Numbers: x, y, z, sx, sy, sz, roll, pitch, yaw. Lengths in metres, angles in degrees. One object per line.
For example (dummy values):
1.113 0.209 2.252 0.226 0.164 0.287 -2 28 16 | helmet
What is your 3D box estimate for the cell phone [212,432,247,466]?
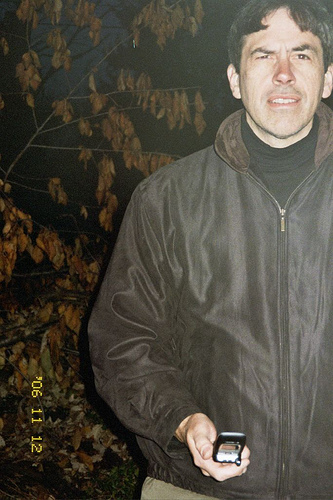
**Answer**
0.121 0.384 0.882 0.074 0.026 0.074 -2 27 20 | cell phone
